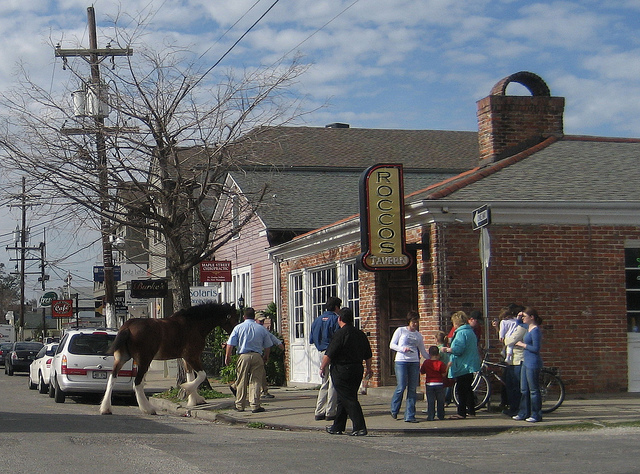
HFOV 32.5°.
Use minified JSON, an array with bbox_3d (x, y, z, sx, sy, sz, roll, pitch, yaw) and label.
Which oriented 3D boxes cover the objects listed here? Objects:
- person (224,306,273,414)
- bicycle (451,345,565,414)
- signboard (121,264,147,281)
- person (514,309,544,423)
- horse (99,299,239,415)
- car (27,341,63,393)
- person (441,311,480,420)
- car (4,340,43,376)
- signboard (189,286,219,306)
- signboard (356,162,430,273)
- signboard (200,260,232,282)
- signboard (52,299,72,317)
[{"bbox_3d":[-1.578,2.798,24.874,1.021,2.426,1.047,0,-9,-4],"label":"person"},{"bbox_3d":[3.801,3.106,24.040,2.218,1.260,0.967,0,-6,-33],"label":"bicycle"},{"bbox_3d":[-6.731,1.294,40.107,0.945,0.827,0.490,2,-5,-27],"label":"signboard"},{"bbox_3d":[4.238,2.636,22.298,0.394,2.279,0.702,0,-9,-8],"label":"person"},{"bbox_3d":[-3.425,2.852,25.883,3.819,2.659,0.990,5,-6,-43],"label":"horse"},{"bbox_3d":[-8.271,3.882,33.067,1.248,1.161,2.694,1,1,-20],"label":"car"},{"bbox_3d":[2.855,2.722,23.012,0.981,2.197,0.938,-5,-10,37],"label":"person"},{"bbox_3d":[-12.509,5.088,47.073,1.774,1.241,4.005,1,-1,-19],"label":"car"},{"bbox_3d":[-3.570,1.840,34.183,0.852,0.519,0.120,0,-6,-3],"label":"signboard"},{"bbox_3d":[1.529,-0.464,24.845,1.430,2.414,0.563,-2,-9,4],"label":"signboard"},{"bbox_3d":[-3.041,1.010,32.521,0.777,0.488,0.049,0,10,-16],"label":"signboard"},{"bbox_3d":[-13.010,3.650,56.144,1.056,0.834,0.145,2,-16,-27],"label":"signboard"}]
